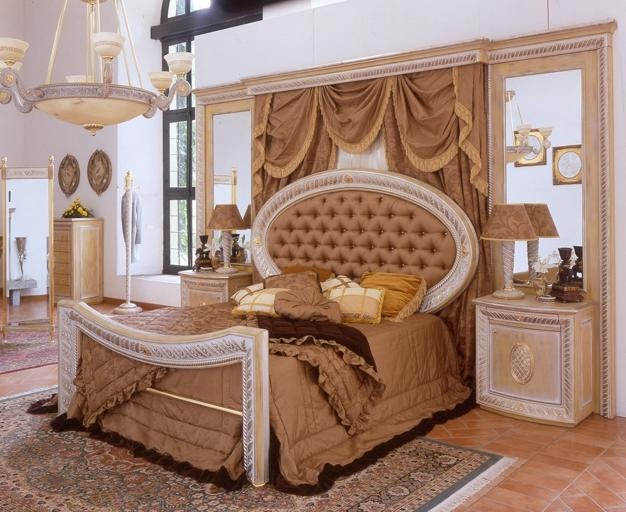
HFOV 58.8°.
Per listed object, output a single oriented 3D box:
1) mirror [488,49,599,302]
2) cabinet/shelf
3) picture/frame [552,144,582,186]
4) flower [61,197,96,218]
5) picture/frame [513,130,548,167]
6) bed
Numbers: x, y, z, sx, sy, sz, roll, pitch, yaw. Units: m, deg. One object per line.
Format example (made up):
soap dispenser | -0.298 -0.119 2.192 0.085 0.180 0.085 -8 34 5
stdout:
mirror | 1.751 -0.597 4.250 0.859 1.812 0.074 3 6 36
cabinet/shelf | -3.758 0.139 8.740 0.838 1.353 0.508 1 2 35
picture/frame | 1.903 -0.681 4.156 0.325 0.364 0.028 2 3 44
flower | -3.611 -0.684 8.539 0.387 0.232 0.387 1 1 13
picture/frame | 1.689 -0.831 4.300 0.303 0.341 0.026 2 1 44
bed | -0.332 0.270 4.291 2.512 1.810 2.485 5 7 32
